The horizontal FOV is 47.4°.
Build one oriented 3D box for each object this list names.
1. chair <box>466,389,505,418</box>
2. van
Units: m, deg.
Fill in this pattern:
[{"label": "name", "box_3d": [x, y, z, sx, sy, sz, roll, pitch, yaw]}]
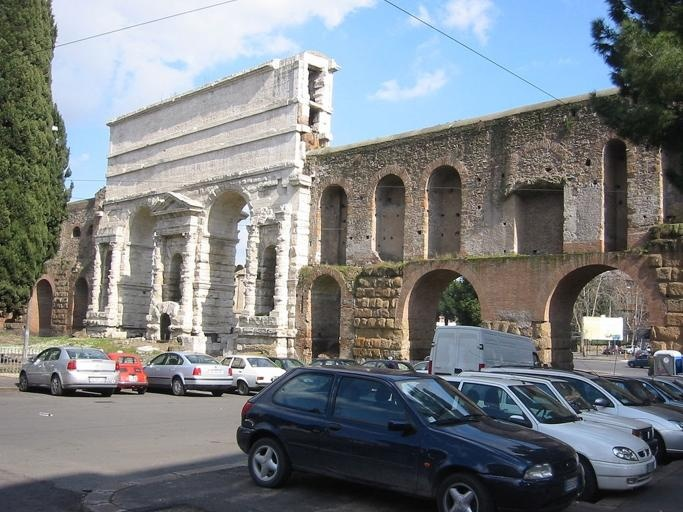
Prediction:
[{"label": "chair", "box_3d": [2.746, 2.784, 14.713, 0.392, 0.295, 0.633, 8, -6, -41]}, {"label": "van", "box_3d": [4.221, 2.727, 22.937, 1.571, 1.458, 2.937, -3, -5, 40]}]
